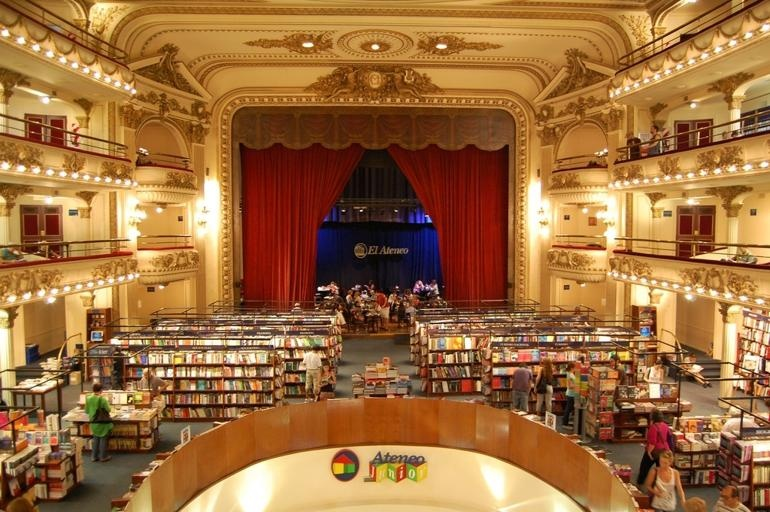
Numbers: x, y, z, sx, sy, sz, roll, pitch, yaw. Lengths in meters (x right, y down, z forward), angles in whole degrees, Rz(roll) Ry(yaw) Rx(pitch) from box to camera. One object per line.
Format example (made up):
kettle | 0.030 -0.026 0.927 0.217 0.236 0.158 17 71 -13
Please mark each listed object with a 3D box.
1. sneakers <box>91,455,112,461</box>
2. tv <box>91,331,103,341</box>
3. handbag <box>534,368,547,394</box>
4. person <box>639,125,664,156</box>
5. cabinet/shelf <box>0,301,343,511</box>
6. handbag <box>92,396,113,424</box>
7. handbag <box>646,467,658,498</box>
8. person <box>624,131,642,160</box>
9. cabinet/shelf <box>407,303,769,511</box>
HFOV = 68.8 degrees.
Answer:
sneakers | -6.716 4.816 13.351 0.405 0.169 0.142 -2 3 -15
tv | -9.019 2.506 17.641 0.286 0.281 0.102 -1 -32 -7
handbag | 4.077 3.248 14.657 0.358 0.607 0.199 -2 0 31
person | 8.357 -3.618 17.540 0.649 1.006 1.952 -2 -1 27
cabinet/shelf | -5.334 3.868 14.206 4.721 2.149 6.601 -2 0 2
handbag | -6.652 3.614 13.172 0.420 0.638 0.151 -1 0 -17
handbag | 5.435 4.550 11.412 0.226 0.571 0.337 -2 0 28
person | 7.844 -3.422 17.711 0.415 0.796 1.185 -2 -1 23
cabinet/shelf | 4.463 4.314 15.087 6.939 2.229 4.672 2 -1 3
